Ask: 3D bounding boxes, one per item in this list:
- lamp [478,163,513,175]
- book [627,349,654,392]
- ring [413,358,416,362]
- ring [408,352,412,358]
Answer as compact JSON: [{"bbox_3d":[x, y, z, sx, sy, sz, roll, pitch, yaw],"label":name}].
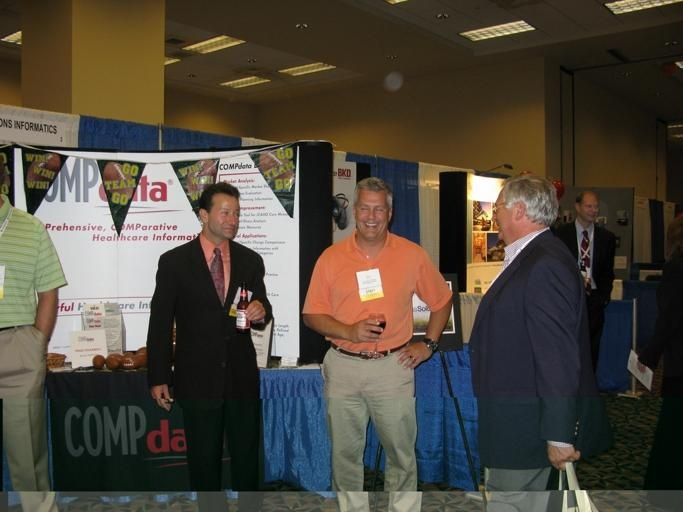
[{"bbox_3d":[2.589,-1.434,9.475,0.517,0.163,0.523,0,9,38],"label":"lamp"},{"bbox_3d":[1.547,0.602,2.950,0.103,0.189,0.329,-2,-1,27],"label":"book"},{"bbox_3d":[0.378,0.534,2.948,0.008,0.033,0.004,5,10,-44],"label":"ring"},{"bbox_3d":[0.349,0.505,2.935,0.026,0.029,0.007,1,-2,-10],"label":"ring"}]
